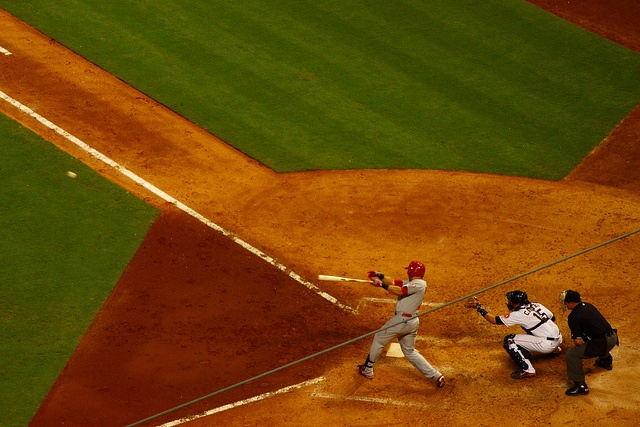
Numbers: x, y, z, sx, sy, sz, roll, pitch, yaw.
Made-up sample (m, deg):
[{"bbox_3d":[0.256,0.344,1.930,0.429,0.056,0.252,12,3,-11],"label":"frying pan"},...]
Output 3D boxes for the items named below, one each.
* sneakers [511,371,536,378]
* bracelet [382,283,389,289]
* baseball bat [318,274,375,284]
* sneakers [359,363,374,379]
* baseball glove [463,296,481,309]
[{"bbox_3d":[5.513,4.291,28.247,0.721,0.196,0.203,-2,12,6],"label":"sneakers"},{"bbox_3d":[1.761,1.935,28.266,0.195,0.126,0.044,1,48,44],"label":"bracelet"},{"bbox_3d":[0.724,1.864,30.005,2.318,0.124,0.180,5,21,-7],"label":"baseball bat"},{"bbox_3d":[1.267,4.275,28.536,0.238,0.202,0.579,-11,19,-34],"label":"sneakers"},{"bbox_3d":[4.256,2.510,29.291,0.510,0.107,0.423,-15,23,-26],"label":"baseball glove"}]
